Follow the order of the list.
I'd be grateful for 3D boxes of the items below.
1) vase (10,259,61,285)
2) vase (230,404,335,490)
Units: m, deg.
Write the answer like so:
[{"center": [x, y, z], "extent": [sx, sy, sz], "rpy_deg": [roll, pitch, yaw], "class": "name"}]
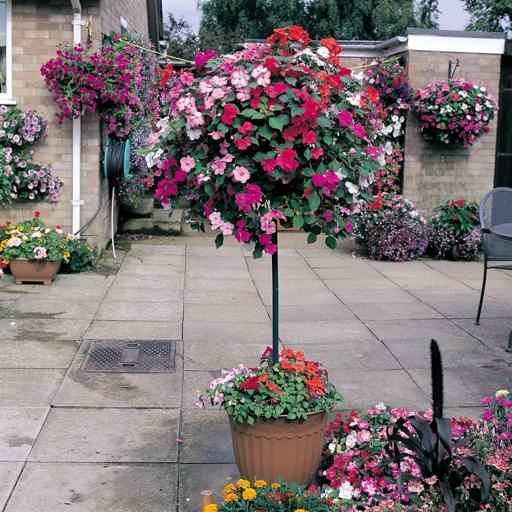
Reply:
[{"center": [-2.474, 0.179, 6.437], "extent": [0.492, 0.172, 0.294], "rpy_deg": [1, 2, -5], "class": "vase"}, {"center": [0.118, 0.854, 2.657], "extent": [0.441, 0.249, 0.395], "rpy_deg": [0, -5, -1], "class": "vase"}]
